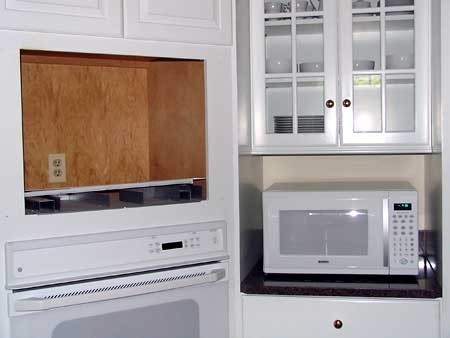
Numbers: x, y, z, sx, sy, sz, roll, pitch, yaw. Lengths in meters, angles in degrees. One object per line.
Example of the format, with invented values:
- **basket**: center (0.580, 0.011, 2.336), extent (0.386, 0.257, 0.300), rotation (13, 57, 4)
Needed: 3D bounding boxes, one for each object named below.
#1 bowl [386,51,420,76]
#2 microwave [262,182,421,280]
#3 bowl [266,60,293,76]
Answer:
- **bowl**: center (0.775, -0.470, 1.889), extent (0.071, 0.059, 0.094), rotation (0, 3, -17)
- **microwave**: center (0.514, 0.162, 2.003), extent (0.570, 0.363, 0.399), rotation (0, -2, 10)
- **bowl**: center (0.243, -0.456, 1.956), extent (0.086, 0.041, 0.072), rotation (-2, 4, -18)
